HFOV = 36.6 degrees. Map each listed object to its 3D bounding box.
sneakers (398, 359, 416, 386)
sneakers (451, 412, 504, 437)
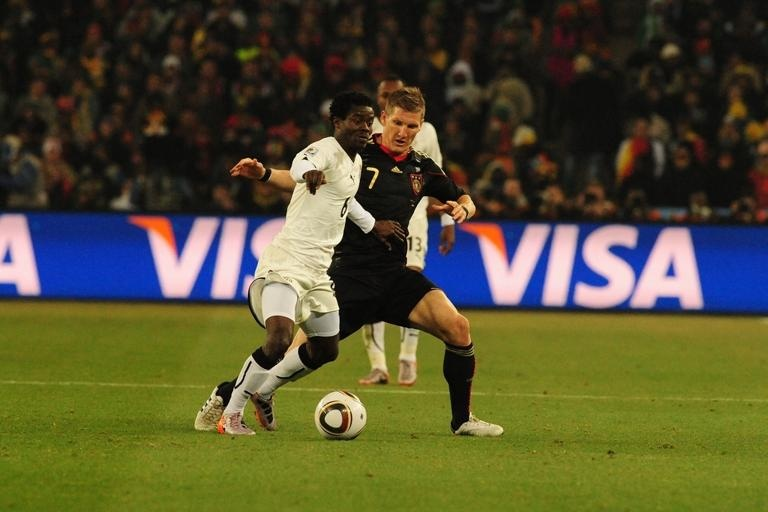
[{"bbox_3d":[0.260,1.330,13.327,0.166,0.302,0.142,1,6,10],"label":"sneakers"},{"bbox_3d":[0.944,1.691,11.564,0.550,0.195,0.184,-1,1,6],"label":"sneakers"}]
